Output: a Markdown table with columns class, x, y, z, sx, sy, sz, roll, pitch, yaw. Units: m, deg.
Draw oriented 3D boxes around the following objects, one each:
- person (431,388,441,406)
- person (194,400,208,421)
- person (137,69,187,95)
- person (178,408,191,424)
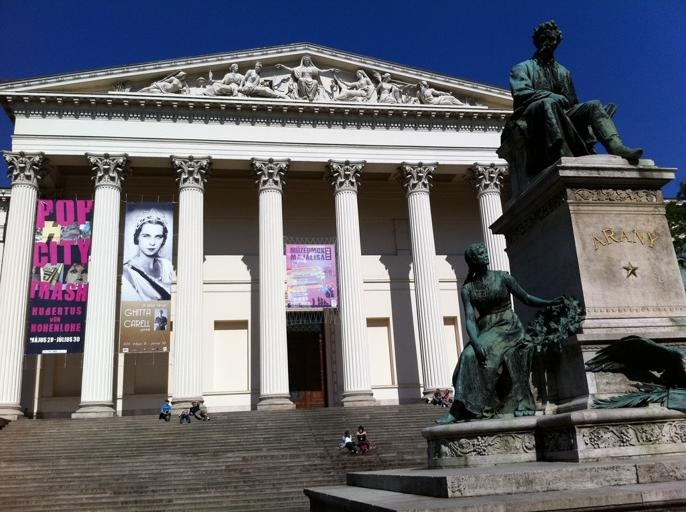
| class | x | y | z | sx | sy | sz | roll | pitch | yaw |
| --- | --- | --- | --- | --- | --- | --- | --- | --- | --- |
| person | 4.313 | 6.541 | 24.659 | 0.551 | 0.759 | 0.536 | 4 | -30 | -2 |
| person | -5.989 | 6.516 | 22.628 | 0.351 | 0.331 | 0.994 | 4 | 6 | -13 |
| person | -9.164 | -8.940 | 27.978 | 1.925 | 1.452 | 0.705 | 1 | -5 | -15 |
| person | -6.328 | 6.480 | 21.642 | 0.466 | 0.303 | 0.756 | 4 | -18 | -10 |
